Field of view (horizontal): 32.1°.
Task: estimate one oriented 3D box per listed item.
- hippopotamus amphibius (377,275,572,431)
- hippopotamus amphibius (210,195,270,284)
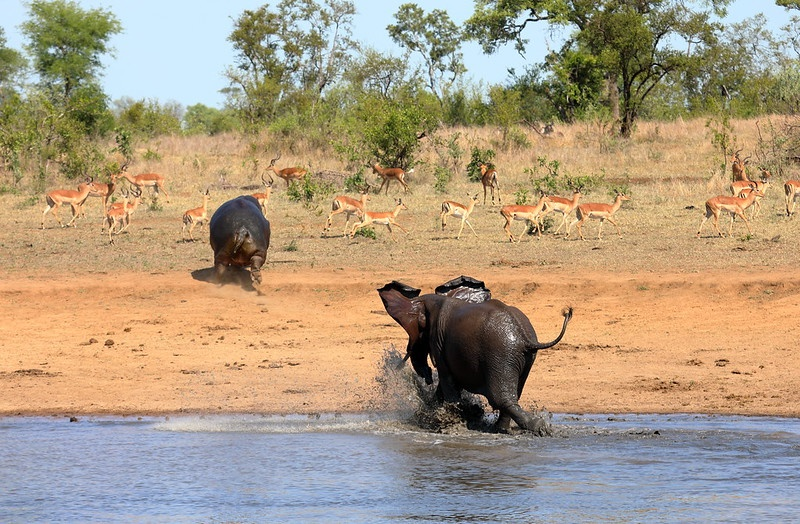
[{"bbox_3d":[1.481,2.217,34.513,3.046,2.750,4.700,-12,24,-43],"label":"hippopotamus amphibius"},{"bbox_3d":[-4.790,-0.546,41.723,1.722,2.634,1.538,0,3,14],"label":"hippopotamus amphibius"}]
